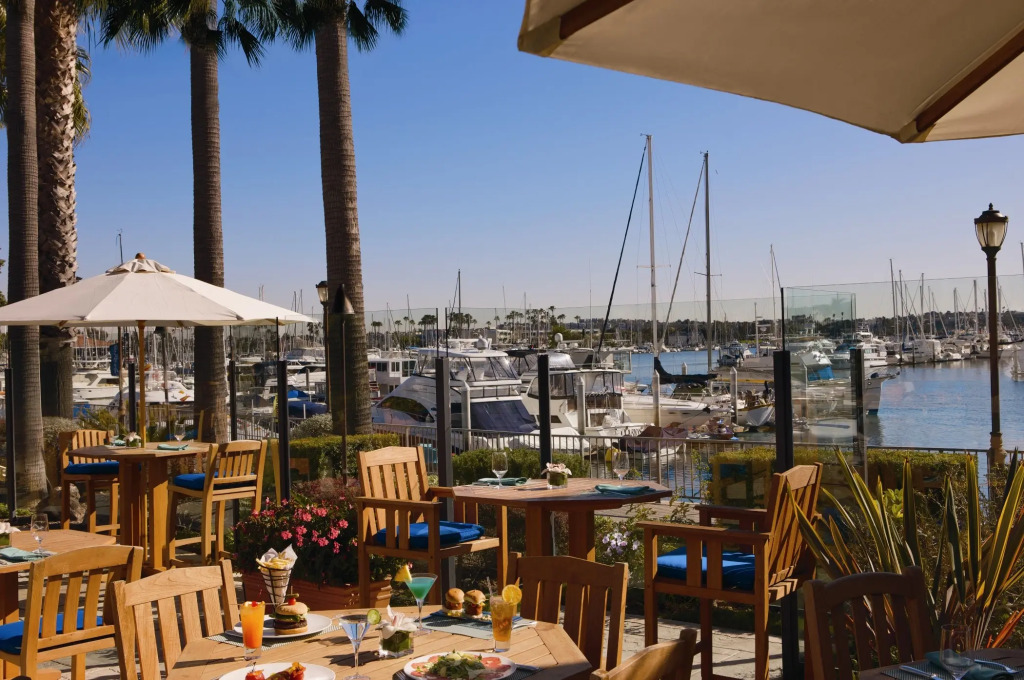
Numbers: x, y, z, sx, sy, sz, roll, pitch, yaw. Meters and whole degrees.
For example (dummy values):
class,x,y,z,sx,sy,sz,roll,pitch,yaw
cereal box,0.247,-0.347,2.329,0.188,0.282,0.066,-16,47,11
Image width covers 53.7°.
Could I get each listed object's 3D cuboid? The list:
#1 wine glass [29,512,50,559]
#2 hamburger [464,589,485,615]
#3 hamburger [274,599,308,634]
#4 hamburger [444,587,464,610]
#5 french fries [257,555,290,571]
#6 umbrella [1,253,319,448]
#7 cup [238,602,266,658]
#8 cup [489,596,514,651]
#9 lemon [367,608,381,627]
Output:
class,x,y,z,sx,sy,sz,roll,pitch,yaw
wine glass,-4.026,1.616,8.563,0.107,0.329,0.597,0,-1,-26
hamburger,-0.272,1.849,7.184,0.137,0.166,0.206,-1,-1,1
hamburger,-1.522,1.877,6.940,0.204,0.196,0.214,1,-4,5
hamburger,-0.432,1.837,7.232,0.144,0.152,0.152,-1,-9,10
french fries,-1.644,1.550,7.058,0.130,0.072,0.141,12,2,3
umbrella,-4.496,-0.435,13.017,3.489,2.580,3.661,0,-3,-4
cup,-1.715,1.872,6.628,0.140,0.335,0.227,-1,-1,-15
cup,-0.071,1.835,6.599,0.148,0.340,0.156,-1,-1,0
lemon,-0.910,1.816,6.591,0.101,0.119,0.106,-2,3,-16
